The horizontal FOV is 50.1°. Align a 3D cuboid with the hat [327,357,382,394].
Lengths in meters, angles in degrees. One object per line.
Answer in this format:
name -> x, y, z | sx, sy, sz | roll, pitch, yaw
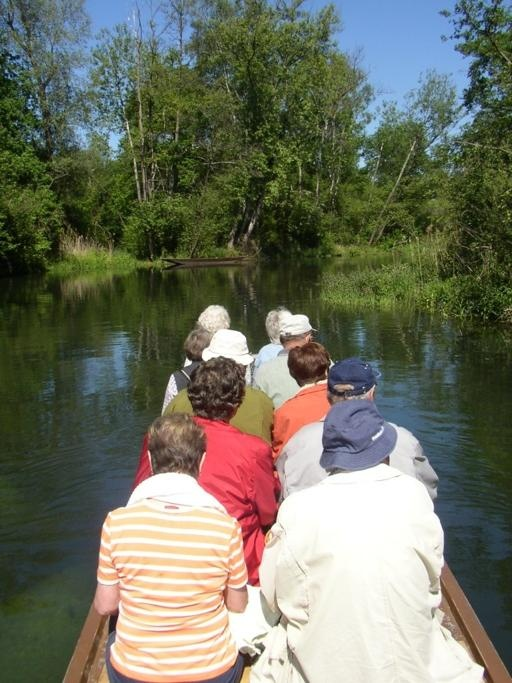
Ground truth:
hat -> 0.417, 0.156, 2.392 | 0.205, 0.149, 0.224 | -3, 3, 9
